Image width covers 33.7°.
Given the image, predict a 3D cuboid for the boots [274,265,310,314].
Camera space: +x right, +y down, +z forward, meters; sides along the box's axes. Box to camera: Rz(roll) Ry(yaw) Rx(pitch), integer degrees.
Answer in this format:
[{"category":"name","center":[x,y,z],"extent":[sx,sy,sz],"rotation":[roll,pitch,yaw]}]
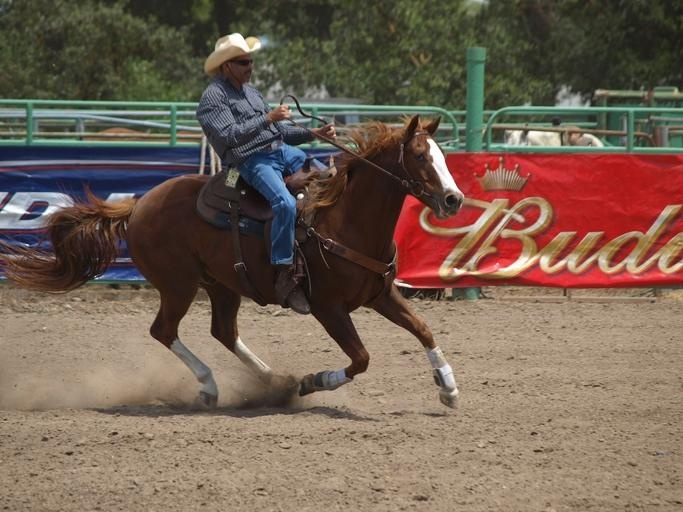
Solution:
[{"category":"boots","center":[-0.534,0.322,11.116],"extent":[0.342,0.469,0.214],"rotation":[-9,3,26]}]

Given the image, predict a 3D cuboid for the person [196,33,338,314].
[{"category":"person","center":[-0.786,-0.823,11.346],"extent":[1.301,2.777,0.677],"rotation":[7,10,27]}]

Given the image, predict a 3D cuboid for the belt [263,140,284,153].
[{"category":"belt","center":[-0.679,-1.094,11.225],"extent":[0.133,0.033,0.129],"rotation":[-24,2,-39]}]
